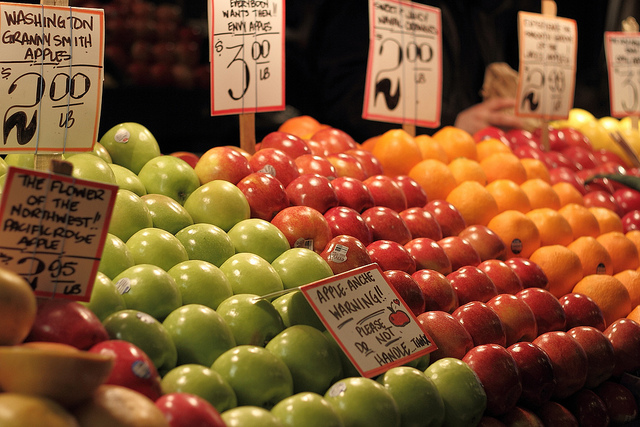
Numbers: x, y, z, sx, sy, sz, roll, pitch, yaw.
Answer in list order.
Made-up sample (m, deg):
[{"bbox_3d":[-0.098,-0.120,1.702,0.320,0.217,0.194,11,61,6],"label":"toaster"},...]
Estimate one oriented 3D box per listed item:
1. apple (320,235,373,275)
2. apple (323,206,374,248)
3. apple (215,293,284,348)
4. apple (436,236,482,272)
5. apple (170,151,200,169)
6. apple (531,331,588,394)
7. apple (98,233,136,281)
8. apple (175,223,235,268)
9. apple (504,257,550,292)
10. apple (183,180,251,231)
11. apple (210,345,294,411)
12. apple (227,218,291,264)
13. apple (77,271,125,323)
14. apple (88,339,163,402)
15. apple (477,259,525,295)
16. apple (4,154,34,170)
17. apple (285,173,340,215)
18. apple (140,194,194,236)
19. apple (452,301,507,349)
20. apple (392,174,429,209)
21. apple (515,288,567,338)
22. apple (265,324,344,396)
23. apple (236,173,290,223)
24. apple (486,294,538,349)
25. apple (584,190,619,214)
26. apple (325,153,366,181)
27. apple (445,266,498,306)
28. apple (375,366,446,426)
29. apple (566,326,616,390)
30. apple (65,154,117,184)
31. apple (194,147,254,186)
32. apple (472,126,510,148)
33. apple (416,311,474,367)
[{"bbox_3d":[0.081,0.125,1.523,0.117,0.125,0.118,3,-16,-7],"label":"apple"},{"bbox_3d":[0.100,0.053,1.683,0.124,0.159,0.127,-31,-17,18],"label":"apple"},{"bbox_3d":[-0.174,0.266,1.339,0.115,0.148,0.123,-5,3,4],"label":"apple"},{"bbox_3d":[0.491,0.131,1.810,0.110,0.145,0.116,-17,-22,1],"label":"apple"},{"bbox_3d":[-0.488,-0.196,1.857,0.075,0.081,0.081,0,4,-4],"label":"apple"},{"bbox_3d":[0.742,0.468,1.575,0.150,0.163,0.160,-10,-21,-2],"label":"apple"},{"bbox_3d":[-0.533,0.112,1.308,0.097,0.133,0.103,1,-8,-7],"label":"apple"},{"bbox_3d":[-0.322,0.080,1.475,0.123,0.133,0.127,-24,-4,35],"label":"apple"},{"bbox_3d":[0.739,0.227,1.817,0.115,0.147,0.120,-7,8,30],"label":"apple"},{"bbox_3d":[-0.314,-0.026,1.633,0.175,0.160,0.165,3,45,15],"label":"apple"},{"bbox_3d":[-0.158,0.366,1.207,0.129,0.155,0.147,19,16,21],"label":"apple"},{"bbox_3d":[-0.173,0.082,1.545,0.124,0.151,0.125,-3,27,-43],"label":"apple"},{"bbox_3d":[-0.515,0.201,1.248,0.095,0.095,0.097,26,-13,11],"label":"apple"},{"bbox_3d":[-0.389,0.311,0.994,0.082,0.101,0.085,-37,7,22],"label":"apple"},{"bbox_3d":[0.632,0.214,1.733,0.103,0.120,0.124,12,49,12],"label":"apple"},{"bbox_3d":[-0.876,-0.151,1.471,0.076,0.071,0.065,0,0,-23],"label":"apple"},{"bbox_3d":[-0.024,-0.068,1.665,0.133,0.140,0.134,-5,24,-26],"label":"apple"},{"bbox_3d":[-0.493,0.009,1.538,0.158,0.136,0.122,4,13,-23],"label":"apple"},{"bbox_3d":[0.480,0.314,1.524,0.126,0.144,0.129,-5,2,38],"label":"apple"},{"bbox_3d":[0.341,-0.075,1.922,0.094,0.116,0.098,-32,6,26],"label":"apple"},{"bbox_3d":[0.732,0.330,1.690,0.123,0.150,0.142,3,-20,8],"label":"apple"},{"bbox_3d":[-0.021,0.358,1.347,0.162,0.204,0.161,-28,-3,-23],"label":"apple"},{"bbox_3d":[-0.196,-0.055,1.699,0.140,0.161,0.148,-13,-19,-21],"label":"apple"},{"bbox_3d":[0.608,0.324,1.648,0.142,0.140,0.148,-19,-18,-24],"label":"apple"},{"bbox_3d":[1.298,-0.062,2.342,0.111,0.145,0.118,-2,-1,7],"label":"apple"},{"bbox_3d":[0.098,-0.174,1.859,0.097,0.127,0.102,-22,1,4],"label":"apple"},{"bbox_3d":[0.489,0.249,1.663,0.128,0.123,0.136,-14,-2,33],"label":"apple"},{"bbox_3d":[0.227,0.455,1.318,0.136,0.173,0.140,-28,-14,-9],"label":"apple"},{"bbox_3d":[0.867,0.479,1.663,0.172,0.206,0.190,-13,-12,26],"label":"apple"},{"bbox_3d":[-0.676,-0.134,1.476,0.148,0.079,0.119,2,5,-17],"label":"apple"},{"bbox_3d":[-0.323,-0.157,1.669,0.156,0.150,0.143,4,-11,-7],"label":"apple"},{"bbox_3d":[0.858,-0.395,2.505,0.167,0.115,0.449,5,6,23],"label":"apple"},{"bbox_3d":[0.365,0.387,1.473,0.118,0.120,0.155,22,36,-16],"label":"apple"}]
